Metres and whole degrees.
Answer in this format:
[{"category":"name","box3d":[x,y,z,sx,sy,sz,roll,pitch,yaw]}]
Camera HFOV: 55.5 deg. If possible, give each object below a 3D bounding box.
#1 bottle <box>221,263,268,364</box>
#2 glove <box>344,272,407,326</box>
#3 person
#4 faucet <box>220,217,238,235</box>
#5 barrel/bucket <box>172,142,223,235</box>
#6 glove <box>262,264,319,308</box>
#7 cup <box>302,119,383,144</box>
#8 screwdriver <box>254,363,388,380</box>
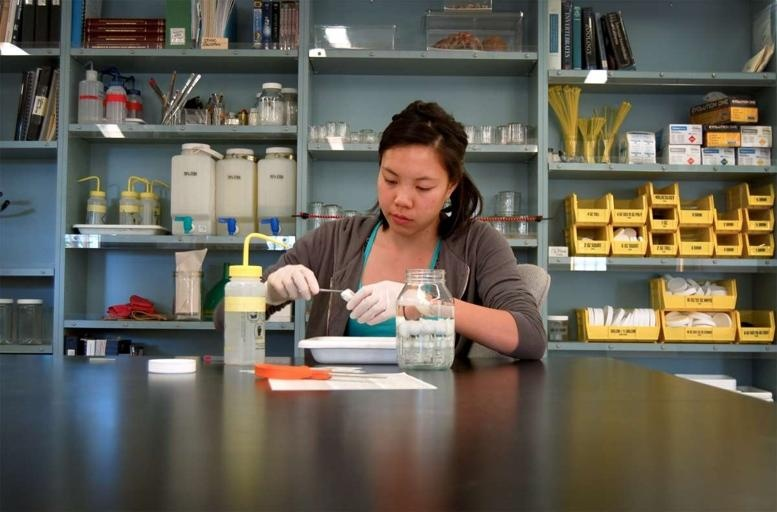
[{"category":"bottle","box3d":[-0.441,0.193,2.407,0.147,0.296,0.164,0,-3,3]},{"category":"glove","box3d":[-0.047,0.158,2.528,0.180,0.146,0.087,1,-1,-3]},{"category":"person","box3d":[-0.004,-0.075,3.098,1.213,1.077,1.062,5,3,0]},{"category":"faucet","box3d":[-0.862,-0.159,4.016,0.115,0.105,0.069,-4,12,-16]},{"category":"barrel/bucket","box3d":[-1.054,-0.351,4.065,0.222,0.512,0.199,0,4,-44]},{"category":"glove","box3d":[-0.363,0.109,2.654,0.151,0.156,0.341,2,-1,-18]},{"category":"cup","box3d":[-0.259,-0.659,4.071,0.377,0.140,0.220,1,4,-12]},{"category":"screwdriver","box3d":[-0.253,0.361,2.307,0.245,0.032,0.123,0,-3,-6]}]
